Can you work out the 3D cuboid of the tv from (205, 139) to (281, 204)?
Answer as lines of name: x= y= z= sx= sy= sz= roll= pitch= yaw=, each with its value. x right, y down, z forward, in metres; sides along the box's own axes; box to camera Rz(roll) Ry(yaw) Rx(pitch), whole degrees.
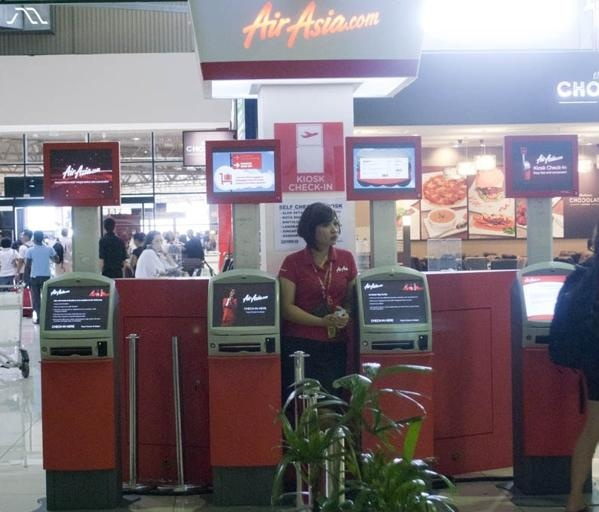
tv: x=-0.386 y=-0.564 z=4.753 sx=0.396 sy=0.370 sz=0.042 roll=-1 pitch=-7 yaw=-1

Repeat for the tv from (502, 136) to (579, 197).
tv: x=1.670 y=-0.635 z=4.919 sx=0.393 sy=0.353 sz=0.131 roll=0 pitch=-3 yaw=-3

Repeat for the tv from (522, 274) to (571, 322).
tv: x=1.571 y=0.283 z=4.526 sx=0.284 sy=0.330 sz=0.032 roll=3 pitch=-13 yaw=-1

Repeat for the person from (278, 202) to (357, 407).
person: x=0.121 y=0.317 z=4.655 sx=0.521 sy=1.327 sz=0.479 roll=-1 pitch=1 yaw=0

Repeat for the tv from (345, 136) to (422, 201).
tv: x=0.562 y=-0.610 z=4.856 sx=0.400 sy=0.375 sz=0.146 roll=0 pitch=-4 yaw=-2

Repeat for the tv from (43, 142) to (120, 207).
tv: x=-1.492 y=-0.562 z=4.786 sx=0.398 sy=0.362 sz=0.055 roll=0 pitch=-3 yaw=-3

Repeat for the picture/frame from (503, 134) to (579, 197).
picture/frame: x=1.709 y=-0.651 z=4.989 sx=0.500 sy=0.446 sz=0.169 roll=0 pitch=15 yaw=17
